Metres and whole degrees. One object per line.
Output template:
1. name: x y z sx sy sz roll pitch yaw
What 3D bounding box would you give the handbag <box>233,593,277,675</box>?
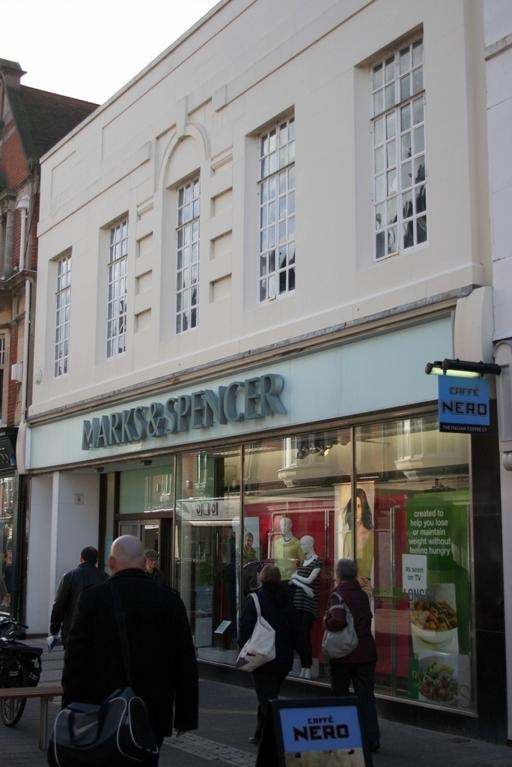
1. handbag: -0.013 2.018 6.063 0.275 0.607 0.324 5 -12 -33

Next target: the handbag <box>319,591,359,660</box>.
1. handbag: 0.677 1.994 6.126 0.283 0.531 0.189 -6 -11 23
